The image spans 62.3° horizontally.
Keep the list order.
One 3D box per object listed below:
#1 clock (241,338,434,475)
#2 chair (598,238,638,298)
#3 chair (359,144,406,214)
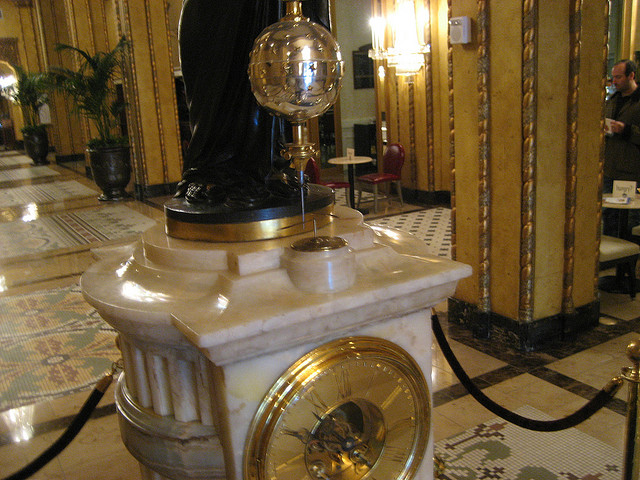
[{"bbox_3d":[0.034,0.577,1.849,0.511,0.494,0.175,-8,16,-26],"label":"clock"},{"bbox_3d":[2.794,0.262,4.911,0.309,0.411,0.446,9,22,39],"label":"chair"},{"bbox_3d":[1.006,-1.033,8.616,0.635,1.030,0.560,-8,15,-24],"label":"chair"}]
